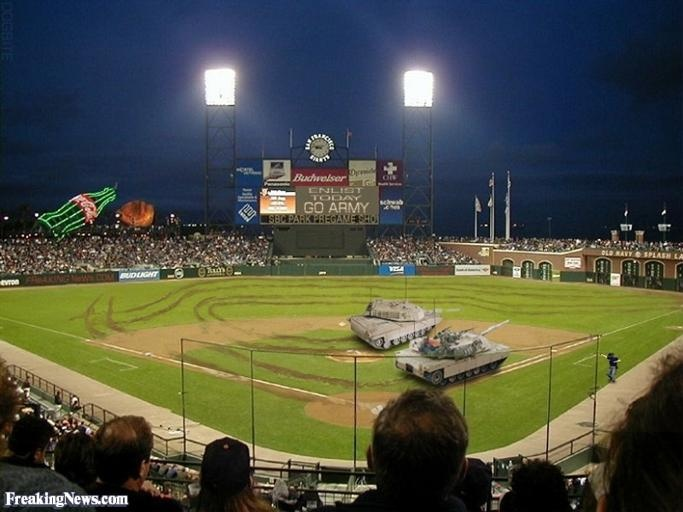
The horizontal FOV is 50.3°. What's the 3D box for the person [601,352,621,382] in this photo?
[{"bbox_3d":[14.906,6.165,39.925,0.449,1.522,1.059,27,-33,-33],"label":"person"}]
